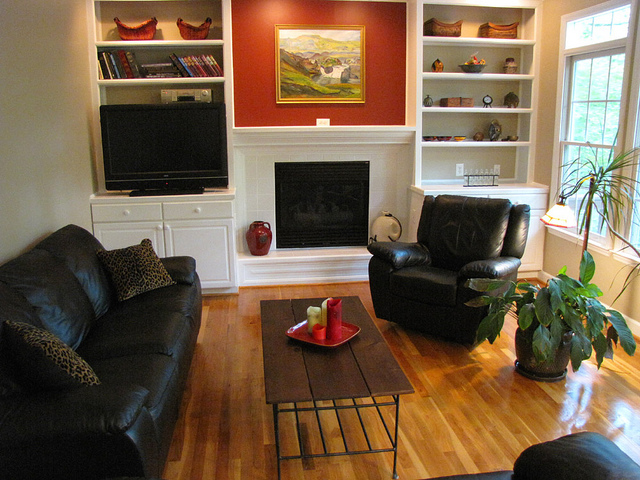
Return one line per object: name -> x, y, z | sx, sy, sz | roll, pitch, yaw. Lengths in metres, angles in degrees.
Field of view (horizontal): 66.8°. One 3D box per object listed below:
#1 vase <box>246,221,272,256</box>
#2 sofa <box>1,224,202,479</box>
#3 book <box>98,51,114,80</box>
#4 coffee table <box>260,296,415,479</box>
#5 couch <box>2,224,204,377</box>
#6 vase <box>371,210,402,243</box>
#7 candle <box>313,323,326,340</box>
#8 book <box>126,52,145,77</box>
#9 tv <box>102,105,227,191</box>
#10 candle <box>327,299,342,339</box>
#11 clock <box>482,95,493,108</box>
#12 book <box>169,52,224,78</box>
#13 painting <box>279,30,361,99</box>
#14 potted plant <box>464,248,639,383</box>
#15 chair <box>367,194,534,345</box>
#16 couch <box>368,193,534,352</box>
vase -> -0.691, -0.027, 5.645 | 0.341, 0.437, 0.347 | 0, 14, -10
sofa -> -1.337, 0.674, 2.924 | 0.534, 0.571, 1.380 | 0, 16, -15
book -> -2.276, -1.847, 5.127 | 0.054, 0.241, 0.235 | -12, 17, -16
coffee table -> 0.042, 0.732, 2.995 | 0.816, 0.720, 1.512 | -4, 23, -10
couch -> -1.431, 0.433, 3.394 | 0.906, 0.890, 1.690 | 1, 16, -10
vase -> 0.787, -0.180, 5.786 | 0.346, 0.407, 0.347 | -5, 10, -43
candle -> -0.009, 0.592, 3.156 | 0.077, 0.078, 0.079 | 1, 4, -14
book -> -1.983, -1.872, 5.203 | 0.058, 0.228, 0.224 | -9, 12, 4
tv -> -1.648, -0.978, 5.128 | 1.232, 0.855, 0.107 | -2, 15, -9
candle -> 0.091, 0.514, 3.175 | 0.107, 0.260, 0.103 | 1, 7, 2
clock -> 2.023, -1.674, 5.829 | 0.140, 0.124, 0.064 | -6, 16, -22
book -> -1.324, -1.861, 5.223 | 0.549, 0.232, 0.181 | -3, 15, -12
painting -> -0.040, -2.029, 5.523 | 0.733, 0.571, 0.030 | -2, 16, -3
potted plant -> 1.680, 0.553, 3.666 | 1.034, 0.741, 1.072 | 2, 9, 19
chair -> 1.184, 0.210, 4.449 | 1.189, 1.225, 0.981 | 9, 12, 40
couch -> 1.196, 0.217, 4.428 | 0.932, 1.201, 1.197 | -8, 14, -40
